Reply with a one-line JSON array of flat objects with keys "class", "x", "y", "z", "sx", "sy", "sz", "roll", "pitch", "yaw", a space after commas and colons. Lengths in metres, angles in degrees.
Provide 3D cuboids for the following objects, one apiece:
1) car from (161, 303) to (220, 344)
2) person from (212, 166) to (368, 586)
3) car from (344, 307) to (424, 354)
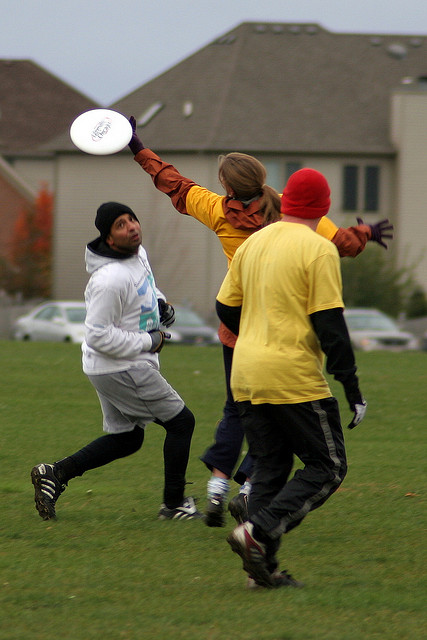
[{"class": "car", "x": -0.585, "y": -0.066, "z": 20.197, "sx": 1.506, "sy": 0.588, "sz": 2.096, "roll": -1, "pitch": 27, "yaw": -16}, {"class": "person", "x": 0.314, "y": 0.213, "z": 3.099, "sx": 0.582, "sy": 1.644, "sz": 0.476, "roll": 1, "pitch": 3, "yaw": 0}, {"class": "car", "x": 3.383, "y": 0.239, "z": 15.614, "sx": 1.264, "sy": 0.874, "sz": 2.231, "roll": 0, "pitch": -1, "yaw": -11}]
